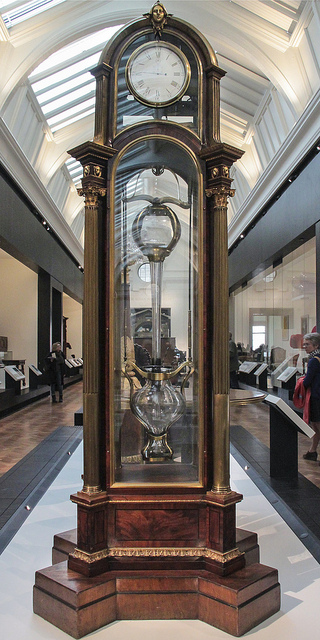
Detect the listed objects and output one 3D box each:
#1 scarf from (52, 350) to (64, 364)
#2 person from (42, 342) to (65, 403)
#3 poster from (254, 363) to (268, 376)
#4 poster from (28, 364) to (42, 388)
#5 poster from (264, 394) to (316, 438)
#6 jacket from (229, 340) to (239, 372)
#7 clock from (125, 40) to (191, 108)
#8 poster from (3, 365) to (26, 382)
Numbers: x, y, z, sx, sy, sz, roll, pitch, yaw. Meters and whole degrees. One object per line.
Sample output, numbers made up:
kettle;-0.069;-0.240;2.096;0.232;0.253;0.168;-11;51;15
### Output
scarf;-2.343;0.880;10.469;0.121;0.316;0.325;-2;-6;26
person;-2.681;1.349;11.372;0.480;1.441;2.584;1;-6;-13
poster;2.583;1.219;11.485;0.091;0.298;0.405;19;-35;-5
poster;-3.596;1.655;12.920;0.300;0.634;0.770;1;-6;-15
poster;1.049;0.810;3.803;0.474;0.346;0.252;2;-6;-19
jacket;1.722;0.902;10.572;0.153;0.676;0.697;-1;-6;9
clock;-0.013;-1.066;1.951;0.269;0.037;0.332;-1;-23;-2
poster;-3.354;1.256;10.387;0.332;0.339;0.847;1;-6;-10
